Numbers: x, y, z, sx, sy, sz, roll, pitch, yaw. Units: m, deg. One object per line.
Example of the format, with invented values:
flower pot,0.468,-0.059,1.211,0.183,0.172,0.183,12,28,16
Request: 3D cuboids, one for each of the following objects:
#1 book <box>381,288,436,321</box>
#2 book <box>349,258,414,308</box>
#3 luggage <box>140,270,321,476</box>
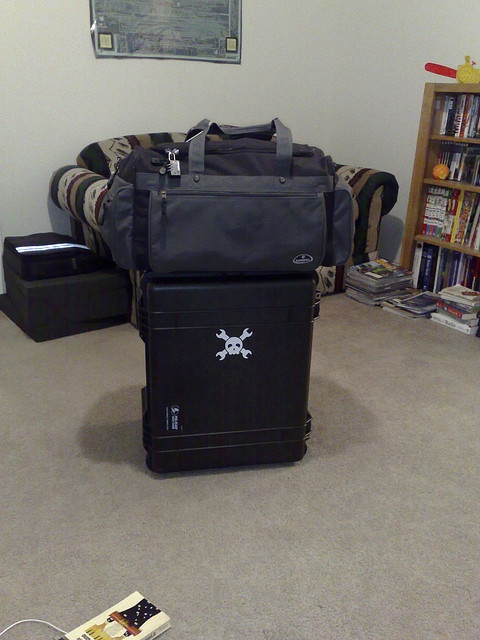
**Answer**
book,1.040,-0.096,2.992,0.334,0.095,0.285,-12,26,-31
book,0.856,-0.246,3.089,0.321,0.121,0.246,-18,33,-31
luggage,-0.044,0.095,1.526,0.505,0.599,0.340,-3,27,-9
